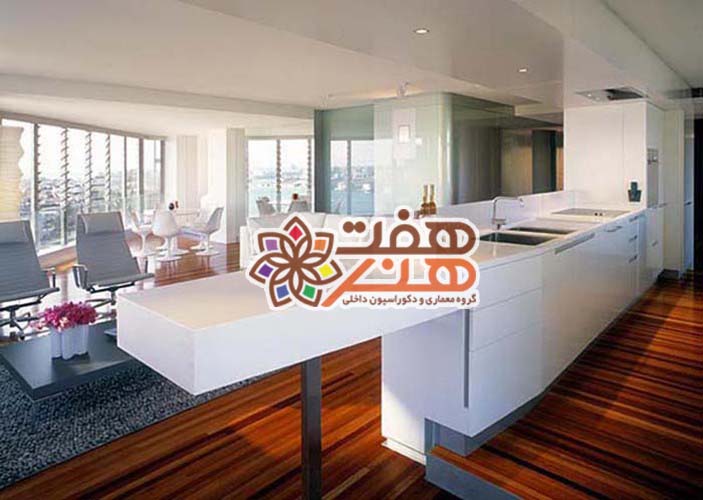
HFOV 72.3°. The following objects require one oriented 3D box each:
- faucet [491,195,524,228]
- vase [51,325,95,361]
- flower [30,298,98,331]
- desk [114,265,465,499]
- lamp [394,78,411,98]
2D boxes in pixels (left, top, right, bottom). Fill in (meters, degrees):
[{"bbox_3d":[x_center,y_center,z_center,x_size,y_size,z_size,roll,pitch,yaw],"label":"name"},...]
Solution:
[{"bbox_3d":[1.435,-0.387,4.514,0.241,0.327,0.750,4,16,16],"label":"faucet"},{"bbox_3d":[-2.291,0.725,3.950,0.262,0.361,0.288,0,0,-37],"label":"vase"},{"bbox_3d":[-2.604,0.584,4.315,0.460,0.228,0.459,0,0,-17],"label":"flower"},{"bbox_3d":[-0.332,0.702,2.596,1.559,1.114,0.704,-10,17,-32],"label":"desk"},{"bbox_3d":[0.765,-2.549,7.463,0.207,0.315,0.200,0,15,1],"label":"lamp"}]
